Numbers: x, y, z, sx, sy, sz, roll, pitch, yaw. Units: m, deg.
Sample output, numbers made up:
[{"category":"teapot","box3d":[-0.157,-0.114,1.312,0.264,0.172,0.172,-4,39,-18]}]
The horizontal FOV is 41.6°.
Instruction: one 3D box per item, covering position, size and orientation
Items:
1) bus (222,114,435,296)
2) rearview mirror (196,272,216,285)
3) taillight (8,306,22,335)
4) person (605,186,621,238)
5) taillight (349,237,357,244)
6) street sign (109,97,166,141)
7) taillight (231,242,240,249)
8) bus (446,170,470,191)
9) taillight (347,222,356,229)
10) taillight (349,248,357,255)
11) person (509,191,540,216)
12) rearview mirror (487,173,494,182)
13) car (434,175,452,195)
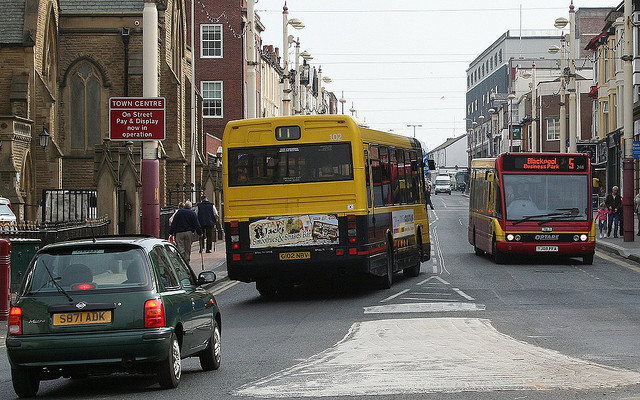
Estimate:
[{"category":"bus","box3d":[0.892,0.142,27.528,4.349,4.642,12.263,-2,0,14]},{"category":"rearview mirror","box3d":[-2.034,1.391,15.178,0.296,0.192,0.609,-3,1,-4]},{"category":"taillight","box3d":[-4.849,1.878,13.412,0.299,0.441,0.144,-2,1,37]},{"category":"person","box3d":[13.741,0.557,39.355,0.686,1.600,2.253,-3,1,19]},{"category":"taillight","box3d":[0.858,1.008,21.385,0.244,0.215,0.127,-2,-6,3]},{"category":"street sign","box3d":[-4.730,-2.079,21.886,1.440,1.035,0.230,-3,1,-1]},{"category":"taillight","box3d":[-2.145,1.152,21.685,0.250,0.174,0.134,0,-7,-3]},{"category":"bus","box3d":[23.233,-3.465,138.334,2.984,2.731,10.084,-1,-1,2]},{"category":"taillight","box3d":[0.830,0.633,21.380,0.196,0.131,0.043,-3,1,-4]},{"category":"taillight","box3d":[0.860,1.270,21.342,0.192,0.131,0.022,-3,1,2]},{"category":"person","box3d":[6.925,0.190,28.330,0.528,0.982,0.293,1,2,4]},{"category":"rearview mirror","box3d":[5.933,-0.781,29.067,0.231,0.220,0.406,0,2,12]},{"category":"car","box3d":[15.547,-1.756,105.777,1.277,1.506,3.513,-1,-7,6]}]
